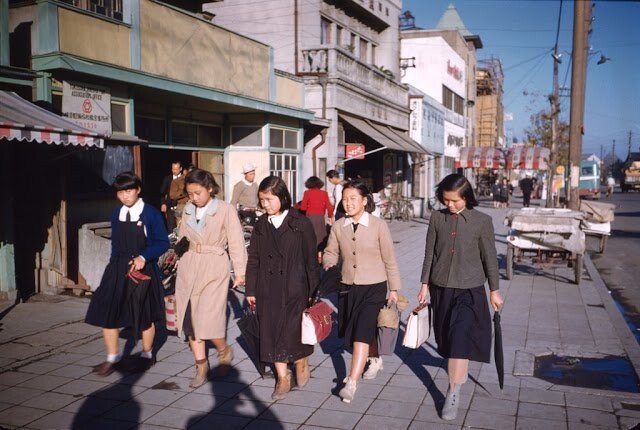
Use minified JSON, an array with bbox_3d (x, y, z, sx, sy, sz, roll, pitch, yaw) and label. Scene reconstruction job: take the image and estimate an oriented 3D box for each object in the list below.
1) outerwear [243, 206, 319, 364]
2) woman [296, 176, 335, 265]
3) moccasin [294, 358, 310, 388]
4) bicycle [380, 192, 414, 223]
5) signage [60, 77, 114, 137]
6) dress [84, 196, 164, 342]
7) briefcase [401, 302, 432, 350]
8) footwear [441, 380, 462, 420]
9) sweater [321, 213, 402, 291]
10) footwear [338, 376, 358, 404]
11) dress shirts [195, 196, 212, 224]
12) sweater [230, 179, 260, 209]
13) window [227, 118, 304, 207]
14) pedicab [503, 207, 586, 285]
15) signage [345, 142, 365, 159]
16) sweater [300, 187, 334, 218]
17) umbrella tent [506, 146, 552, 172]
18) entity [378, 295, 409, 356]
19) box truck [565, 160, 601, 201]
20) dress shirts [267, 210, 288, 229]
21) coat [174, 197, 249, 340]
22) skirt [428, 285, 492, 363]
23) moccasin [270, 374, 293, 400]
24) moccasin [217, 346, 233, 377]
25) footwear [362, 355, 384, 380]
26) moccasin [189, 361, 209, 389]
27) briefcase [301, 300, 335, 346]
[{"bbox_3d":[-0.489,0.908,6.974,0.955,1.900,0.611,-2,12,-9],"label":"outerwear"},{"bbox_3d":[-0.110,0.054,12.172,0.778,1.900,0.620,0,16,5],"label":"woman"},{"bbox_3d":[-0.242,2.092,7.198,0.144,0.292,0.415,-6,21,19],"label":"moccasin"},{"bbox_3d":[3.471,-0.280,24.574,1.796,1.136,0.886,1,-11,-44],"label":"bicycle"},{"bbox_3d":[-4.793,-2.236,11.107,1.162,0.922,0.039,9,13,13],"label":"signage"},{"bbox_3d":[-2.709,0.646,7.555,0.943,1.833,0.755,4,8,9],"label":"dress"},{"bbox_3d":[1.312,1.521,7.313,0.273,0.607,0.784,7,12,25],"label":"briefcase"},{"bbox_3d":[1.627,2.216,6.603,0.155,0.235,0.515,3,30,23],"label":"footwear"},{"bbox_3d":[0.476,0.342,7.549,1.310,1.419,0.891,1,1,17],"label":"sweater"},{"bbox_3d":[0.348,2.198,6.860,0.154,0.213,0.365,4,3,9],"label":"footwear"},{"bbox_3d":[-1.570,-0.064,7.238,0.183,0.281,0.200,4,15,-3],"label":"dress shirts"},{"bbox_3d":[-1.808,-0.480,13.424,0.490,0.888,0.954,-5,-1,43],"label":"sweater"},{"bbox_3d":[-1.744,-1.767,17.474,2.377,2.459,1.056,0,6,-14],"label":"window"},{"bbox_3d":[5.285,0.671,12.648,1.740,1.591,2.925,2,3,19],"label":"pedicab"},{"bbox_3d":[1.316,-2.435,20.795,0.682,0.538,0.700,-1,4,5],"label":"signage"},{"bbox_3d":[-0.091,-0.321,12.143,0.860,0.962,0.548,1,10,5],"label":"sweater"},{"bbox_3d":[13.652,-3.726,35.541,2.635,1.379,1.622,5,13,20],"label":"umbrella tent"},{"bbox_3d":[0.975,1.509,7.313,0.332,0.820,0.814,6,14,15],"label":"entity"},{"bbox_3d":[20.476,-2.659,40.396,1.698,3.044,5.470,2,2,1],"label":"box truck"},{"bbox_3d":[-0.544,0.056,6.974,0.164,0.241,0.141,-7,32,-2],"label":"dress shirts"},{"bbox_3d":[-1.476,0.759,7.255,0.968,1.890,0.649,-2,12,-11],"label":"coat"},{"bbox_3d":[1.756,1.338,6.767,0.765,0.846,0.568,3,12,12],"label":"skirt"},{"bbox_3d":[-0.509,2.222,6.939,0.130,0.175,0.389,0,-7,14],"label":"moccasin"},{"bbox_3d":[-1.311,2.015,7.476,0.138,0.438,0.286,0,-21,26],"label":"moccasin"},{"bbox_3d":[0.723,2.091,7.391,0.146,0.212,0.418,-4,2,29],"label":"footwear"},{"bbox_3d":[-1.672,2.124,7.240,0.150,0.297,0.407,3,13,19],"label":"moccasin"},{"bbox_3d":[-0.040,1.334,6.990,0.253,0.550,0.555,-7,1,29],"label":"briefcase"}]
